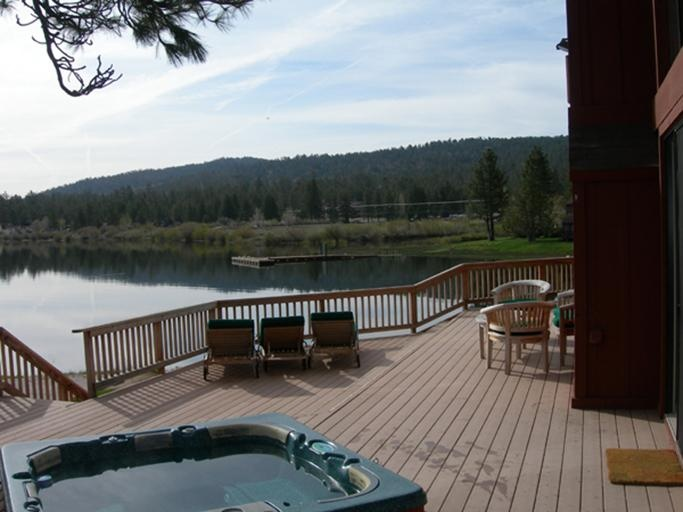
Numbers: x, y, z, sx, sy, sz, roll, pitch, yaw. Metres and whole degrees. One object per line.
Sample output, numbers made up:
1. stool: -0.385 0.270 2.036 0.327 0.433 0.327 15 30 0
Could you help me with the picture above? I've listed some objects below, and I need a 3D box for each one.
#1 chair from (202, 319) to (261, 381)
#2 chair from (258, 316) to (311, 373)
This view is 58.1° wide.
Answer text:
1. chair: -1.759 1.439 9.862 0.587 0.715 1.125 0 9 -5
2. chair: -0.955 1.399 10.064 0.557 0.704 1.019 0 8 -8
